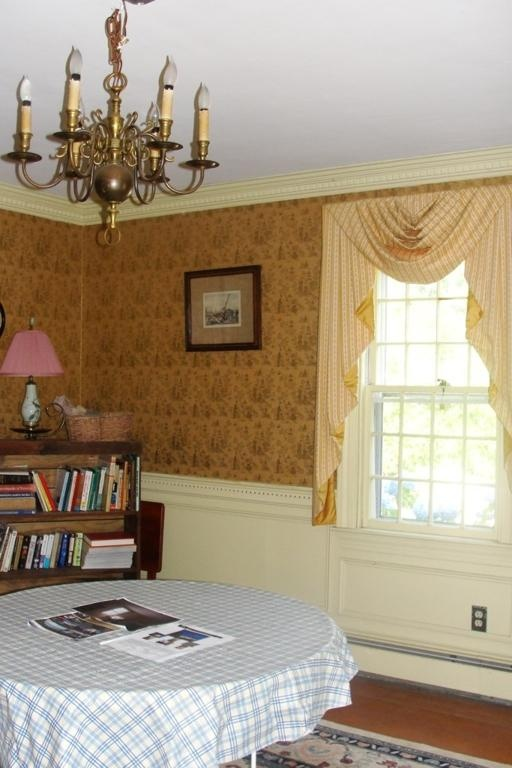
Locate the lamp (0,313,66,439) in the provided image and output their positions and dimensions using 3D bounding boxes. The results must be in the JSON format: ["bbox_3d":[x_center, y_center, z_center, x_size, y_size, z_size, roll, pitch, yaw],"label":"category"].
[{"bbox_3d":[-1.478,-0.017,3.957,0.381,0.733,0.733,3,-7,-19],"label":"lamp"}]

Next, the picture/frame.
[{"bbox_3d":[-0.199,-0.538,4.144,0.629,0.614,0.047,1,2,32],"label":"picture/frame"}]

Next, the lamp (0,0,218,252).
[{"bbox_3d":[-0.634,-1.098,2.615,0.892,1.257,0.873,2,7,4],"label":"lamp"}]
